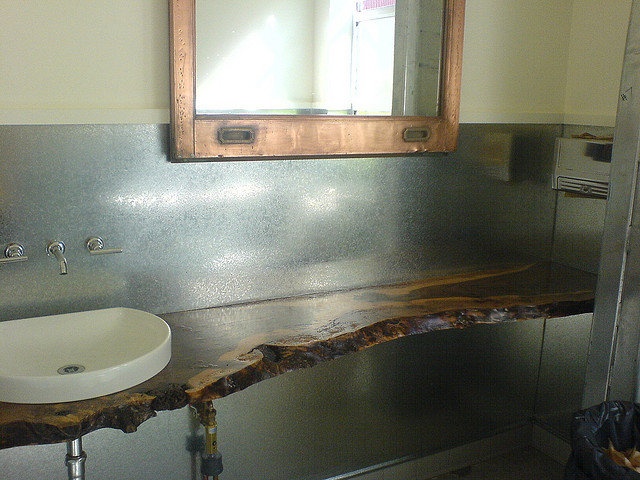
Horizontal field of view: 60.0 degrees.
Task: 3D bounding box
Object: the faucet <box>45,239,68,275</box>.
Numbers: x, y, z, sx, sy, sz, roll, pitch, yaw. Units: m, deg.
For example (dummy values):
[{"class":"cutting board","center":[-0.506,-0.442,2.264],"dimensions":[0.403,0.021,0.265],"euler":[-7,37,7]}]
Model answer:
[{"class":"faucet","center":[-0.937,0.058,1.988],"dimensions":[0.073,0.147,0.056],"euler":[-9,-25,-35]}]
